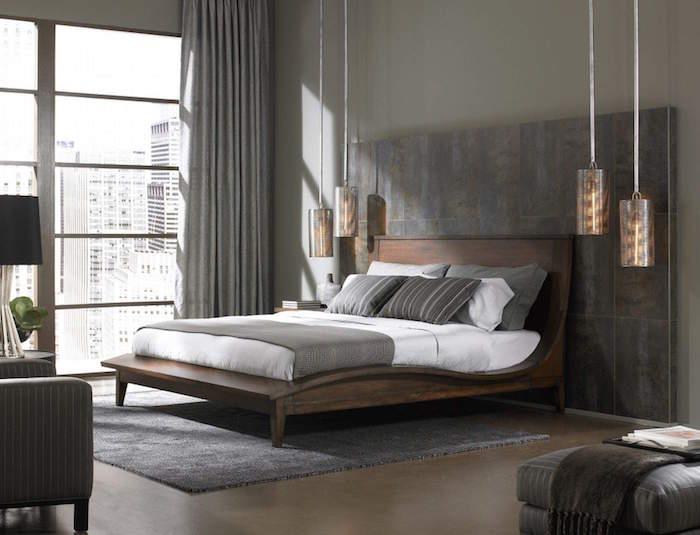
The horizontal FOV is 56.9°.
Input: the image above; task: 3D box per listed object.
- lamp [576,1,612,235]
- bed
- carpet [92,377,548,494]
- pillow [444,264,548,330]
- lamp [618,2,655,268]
[{"bbox_3d":[1.821,-1.169,4.810,0.212,1.240,0.497,0,0,22],"label":"lamp"},{"bbox_3d":[0.356,0.856,5.471,2.198,1.046,1.887,4,-18,-20],"label":"bed"},{"bbox_3d":[-0.297,1.139,4.525,3.191,0.037,2.520,0,-1,-9],"label":"carpet"},{"bbox_3d":[1.322,0.231,5.246,0.580,0.555,0.172,6,-20,44],"label":"pillow"},{"bbox_3d":[2.048,-0.996,4.590,0.229,1.284,0.437,0,0,24],"label":"lamp"}]
